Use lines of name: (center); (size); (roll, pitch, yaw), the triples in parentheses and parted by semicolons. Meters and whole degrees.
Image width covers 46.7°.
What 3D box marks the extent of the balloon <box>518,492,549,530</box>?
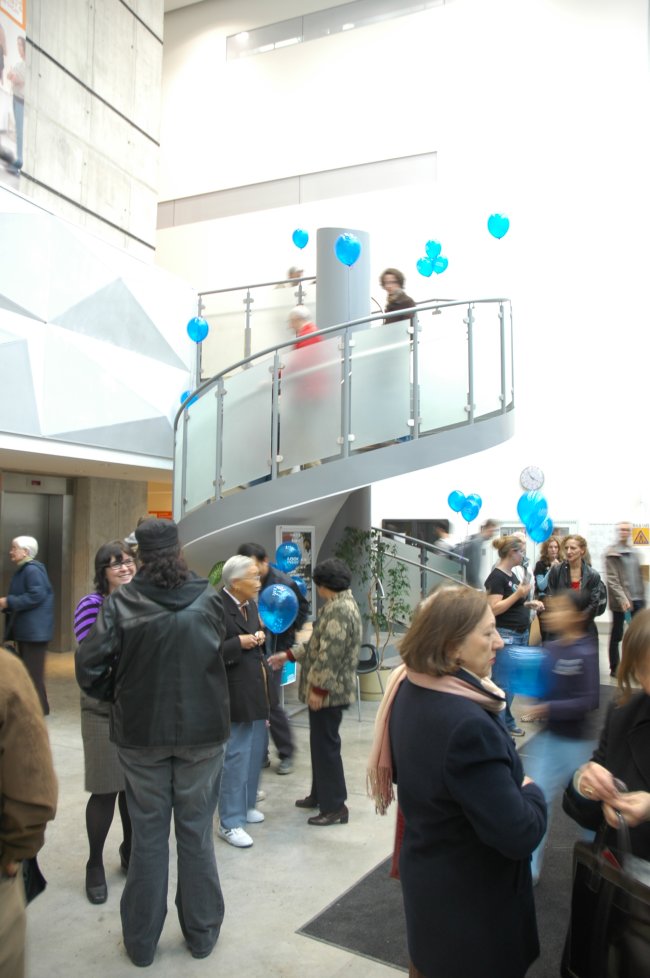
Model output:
balloon: (1.849, 0.208, 6.713); (0.265, 0.471, 0.286); (2, -2, 15)

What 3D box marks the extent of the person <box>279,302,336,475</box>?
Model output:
person: (-0.128, -0.784, 6.177); (0.492, 1.492, 0.455); (1, 36, 2)

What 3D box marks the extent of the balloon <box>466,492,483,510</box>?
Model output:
balloon: (1.817, 0.178, 9.127); (0.206, 0.282, 0.229); (-2, 5, 14)

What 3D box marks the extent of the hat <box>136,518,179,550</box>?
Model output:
hat: (-0.568, 0.130, 2.508); (0.104, 0.078, 0.114); (-4, 13, -10)

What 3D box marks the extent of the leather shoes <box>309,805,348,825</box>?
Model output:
leather shoes: (0.019, 1.676, 3.873); (0.177, 0.091, 0.081); (7, -8, -12)

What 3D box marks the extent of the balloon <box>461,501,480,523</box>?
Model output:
balloon: (1.749, 0.211, 9.053); (0.166, 0.339, 0.167); (5, -22, 8)

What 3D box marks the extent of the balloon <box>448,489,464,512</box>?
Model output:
balloon: (1.668, 0.160, 9.593); (0.167, 0.296, 0.533); (-1, -5, 12)

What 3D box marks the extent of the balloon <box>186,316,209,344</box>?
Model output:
balloon: (-1.474, -1.855, 8.652); (0.239, 0.342, 0.523); (1, -4, -7)

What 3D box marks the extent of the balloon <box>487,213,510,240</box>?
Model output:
balloon: (1.931, -2.915, 8.421); (0.280, 0.383, 0.199); (5, 3, 10)

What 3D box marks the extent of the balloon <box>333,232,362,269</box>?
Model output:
balloon: (0.170, -2.097, 6.595); (0.225, 0.323, 0.243); (-5, 3, -28)

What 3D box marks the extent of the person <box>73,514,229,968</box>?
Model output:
person: (-0.580, 0.833, 2.506); (0.493, 1.456, 0.313); (1, -4, -9)

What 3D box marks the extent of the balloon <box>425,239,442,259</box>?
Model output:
balloon: (1.257, -2.802, 8.750); (0.227, 0.226, 0.234); (0, 1, 21)
